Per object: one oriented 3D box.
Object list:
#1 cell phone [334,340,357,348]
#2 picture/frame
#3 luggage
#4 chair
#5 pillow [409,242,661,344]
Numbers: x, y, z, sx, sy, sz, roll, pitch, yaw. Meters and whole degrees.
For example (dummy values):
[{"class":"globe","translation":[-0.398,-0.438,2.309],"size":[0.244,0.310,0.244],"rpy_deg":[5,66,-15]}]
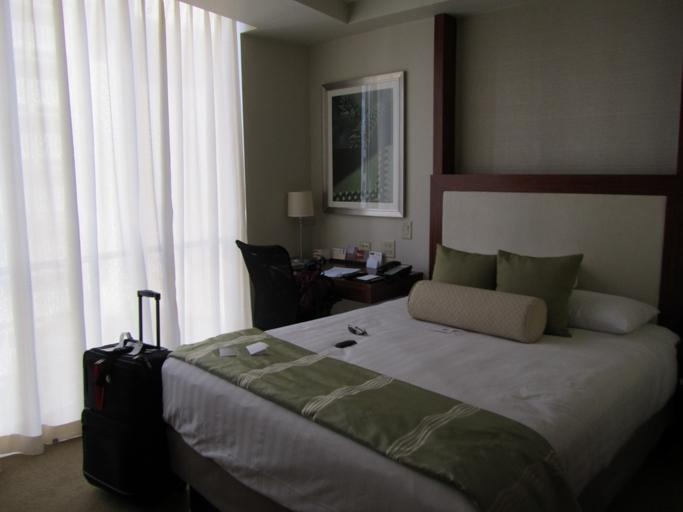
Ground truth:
[{"class":"cell phone","translation":[0.028,0.495,2.970],"size":[0.048,0.020,0.076],"rpy_deg":[7,10,44]},{"class":"picture/frame","translation":[0.223,-1.025,4.681],"size":[0.057,1.649,1.231],"rpy_deg":[-6,7,-44]},{"class":"luggage","translation":[-1.212,0.764,2.963],"size":[0.553,1.087,0.397],"rpy_deg":[5,15,22]},{"class":"chair","translation":[-0.427,0.210,4.132],"size":[0.527,0.901,0.665],"rpy_deg":[9,28,25]},{"class":"pillow","translation":[1.114,0.255,3.237],"size":[0.767,0.297,0.909],"rpy_deg":[5,17,32]}]
